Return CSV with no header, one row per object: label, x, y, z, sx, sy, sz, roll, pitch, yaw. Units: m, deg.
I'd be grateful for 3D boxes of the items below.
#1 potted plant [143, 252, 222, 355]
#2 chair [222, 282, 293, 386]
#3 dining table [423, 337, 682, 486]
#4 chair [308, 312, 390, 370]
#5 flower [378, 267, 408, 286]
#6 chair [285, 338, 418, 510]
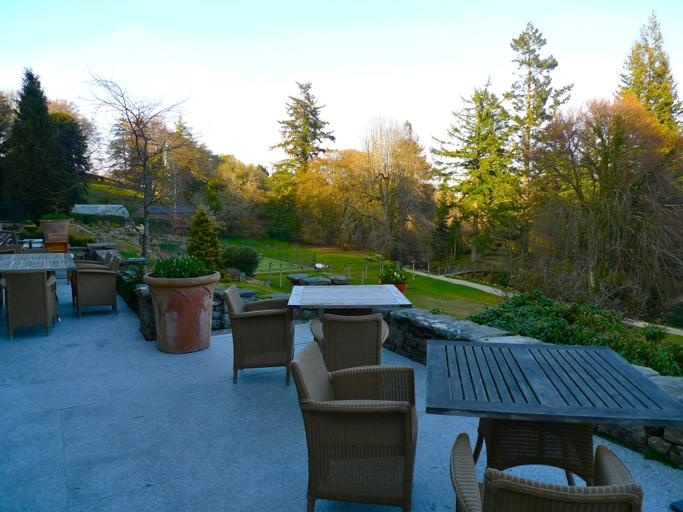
potted plant,-2.180,0.601,6.427,0.943,1.296,0.946,4,8,25
chair,-0.871,0.835,5.708,0.913,1.324,1.017,0,5,-6
dining table,1.430,0.893,3.239,1.155,0.770,1.233,1,13,1
chair,0.076,0.773,4.842,0.630,0.750,0.550,0,12,-2
flower,1.845,0.883,19.073,1.148,0.732,1.196,0,1,22
chair,0.126,1.349,3.866,1.025,1.435,1.195,0,5,5
